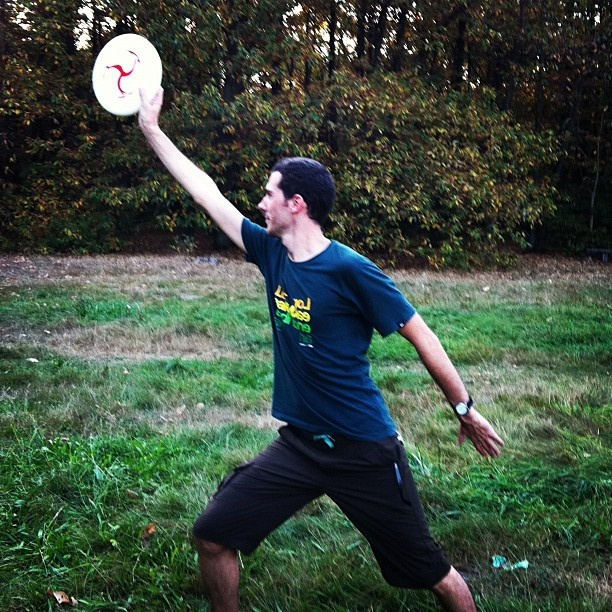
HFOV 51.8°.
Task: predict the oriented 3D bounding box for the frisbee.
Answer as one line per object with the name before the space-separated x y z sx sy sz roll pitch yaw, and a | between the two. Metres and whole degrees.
frisbee | -0.919 -1.206 3.276 0.382 0.450 0.208 3 6 22
